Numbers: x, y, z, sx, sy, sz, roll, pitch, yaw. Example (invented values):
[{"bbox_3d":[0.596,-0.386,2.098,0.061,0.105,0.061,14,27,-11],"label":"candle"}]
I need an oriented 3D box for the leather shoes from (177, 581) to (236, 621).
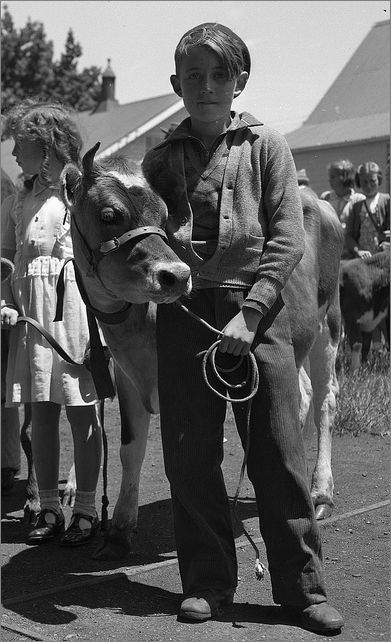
[{"bbox_3d":[0.041,0.948,2.919,0.075,0.094,0.222,2,-4,33],"label":"leather shoes"}]

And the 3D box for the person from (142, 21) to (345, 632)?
[{"bbox_3d":[0.143,-0.013,2.939,0.727,2.047,0.457,0,4,15],"label":"person"}]

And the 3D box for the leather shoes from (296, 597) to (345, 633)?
[{"bbox_3d":[0.405,0.950,2.785,0.066,0.065,0.163,-1,-7,-30],"label":"leather shoes"}]
